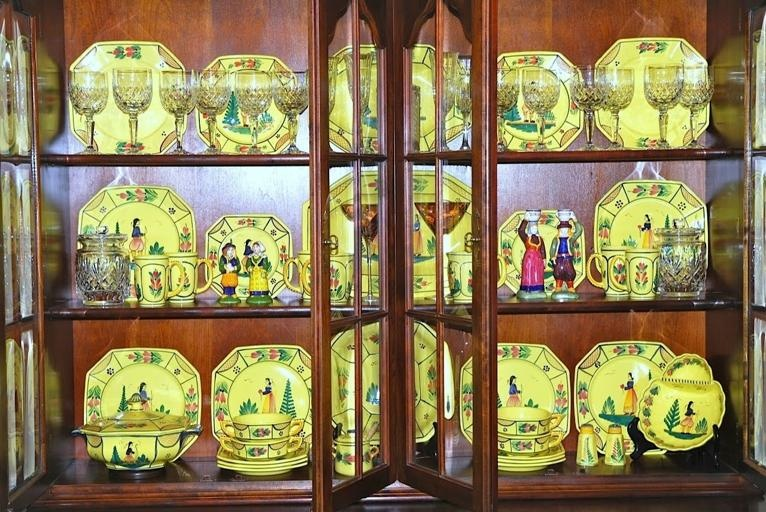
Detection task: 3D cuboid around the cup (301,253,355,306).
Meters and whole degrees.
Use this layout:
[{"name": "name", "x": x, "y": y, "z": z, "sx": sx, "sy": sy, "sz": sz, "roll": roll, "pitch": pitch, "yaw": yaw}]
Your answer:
[{"name": "cup", "x": -0.231, "y": 0.078, "z": 2.999, "sx": 0.209, "sy": 0.171, "sz": 0.141, "roll": 0, "pitch": -1, "yaw": 19}]

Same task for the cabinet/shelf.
[{"name": "cabinet/shelf", "x": -0.046, "y": 0.014, "z": 3.099, "sx": 1.674, "sy": 1.258, "sz": 0.630, "roll": -1, "pitch": -1, "yaw": 1}]

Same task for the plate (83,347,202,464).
[{"name": "plate", "x": -0.918, "y": 0.563, "z": 3.290, "sx": 0.490, "sy": 0.532, "sz": 0.398, "roll": 0, "pitch": -5, "yaw": -2}]

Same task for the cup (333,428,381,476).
[{"name": "cup", "x": -0.090, "y": 0.684, "z": 2.956, "sx": 0.189, "sy": 0.147, "sz": 0.133, "roll": -1, "pitch": 6, "yaw": -9}]

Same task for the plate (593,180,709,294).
[{"name": "plate", "x": 1.006, "y": -0.063, "z": 3.255, "sx": 0.416, "sy": 0.452, "sz": 0.116, "roll": -3, "pitch": -9, "yaw": 13}]

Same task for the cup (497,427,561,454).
[{"name": "cup", "x": 0.518, "y": 0.687, "z": 3.141, "sx": 0.129, "sy": 0.056, "sz": 0.112, "roll": 5, "pitch": -2, "yaw": -1}]

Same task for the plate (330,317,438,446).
[{"name": "plate", "x": -0.013, "y": 0.439, "z": 2.983, "sx": 0.350, "sy": 0.429, "sz": 0.067, "roll": -2, "pitch": 7, "yaw": -20}]

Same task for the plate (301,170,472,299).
[{"name": "plate", "x": 0.019, "y": -0.077, "z": 2.932, "sx": 0.408, "sy": 0.333, "sz": 0.023, "roll": -1, "pitch": 6, "yaw": -8}]

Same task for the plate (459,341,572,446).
[{"name": "plate", "x": 0.464, "y": 0.507, "z": 3.079, "sx": 0.376, "sy": 0.442, "sz": 0.057, "roll": -5, "pitch": -3, "yaw": -9}]
